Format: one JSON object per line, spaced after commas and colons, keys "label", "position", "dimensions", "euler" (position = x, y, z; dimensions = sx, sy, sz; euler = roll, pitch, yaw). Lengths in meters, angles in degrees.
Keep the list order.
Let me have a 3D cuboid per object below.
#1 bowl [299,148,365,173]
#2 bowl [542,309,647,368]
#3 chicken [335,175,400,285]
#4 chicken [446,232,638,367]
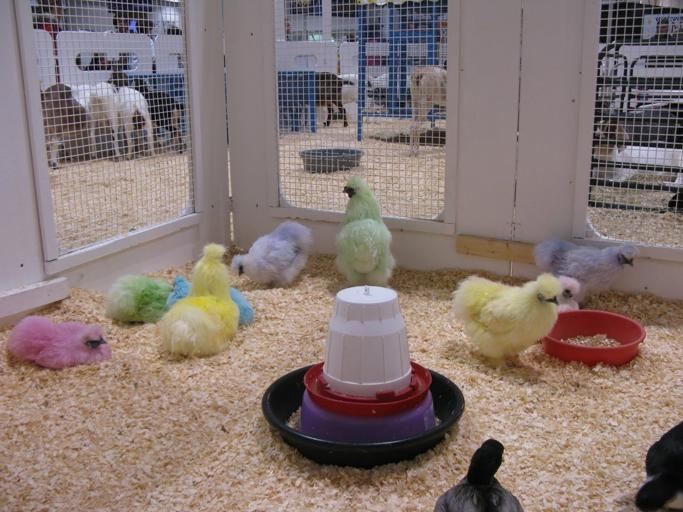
{"label": "bowl", "position": [-0.104, -0.898, 5.716], "dimensions": [0.575, 0.287, 0.500], "euler": [-3, 22, -6]}
{"label": "bowl", "position": [1.727, 0.499, 4.158], "dimensions": [0.607, 0.184, 0.620], "euler": [14, -3, 1]}
{"label": "chicken", "position": [0.171, -0.126, 4.511], "dimensions": [0.414, 0.829, 0.451], "euler": [0, 21, 3]}
{"label": "chicken", "position": [1.023, 0.257, 3.689], "dimensions": [0.629, 0.547, 0.421], "euler": [20, 33, 32]}
